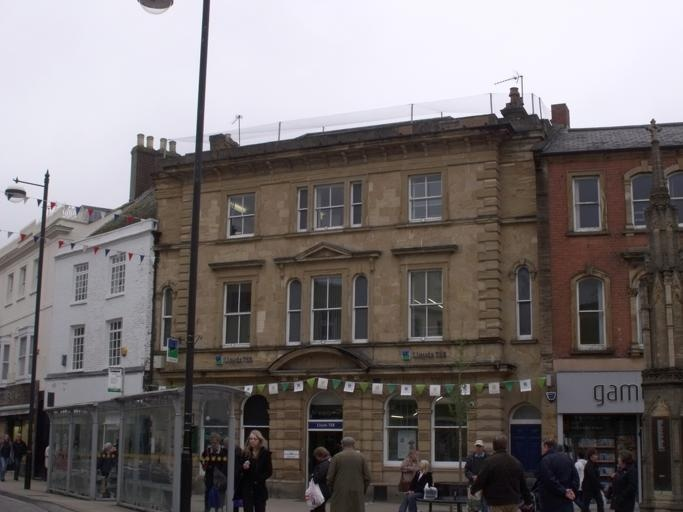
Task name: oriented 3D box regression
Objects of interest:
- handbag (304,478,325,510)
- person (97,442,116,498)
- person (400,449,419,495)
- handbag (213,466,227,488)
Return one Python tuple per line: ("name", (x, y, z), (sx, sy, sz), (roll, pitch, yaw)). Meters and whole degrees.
("handbag", (-0.712, 6.302, 28.122), (0.474, 0.713, 0.452), (-5, -15, 11))
("person", (-8.413, 7.663, 38.068), (0.650, 1.911, 0.781), (2, -15, -13))
("person", (2.228, 7.054, 34.880), (0.744, 1.383, 0.803), (4, 1, -35))
("handbag", (-3.614, 6.593, 31.593), (0.544, 0.541, 0.470), (-3, -3, 17))
